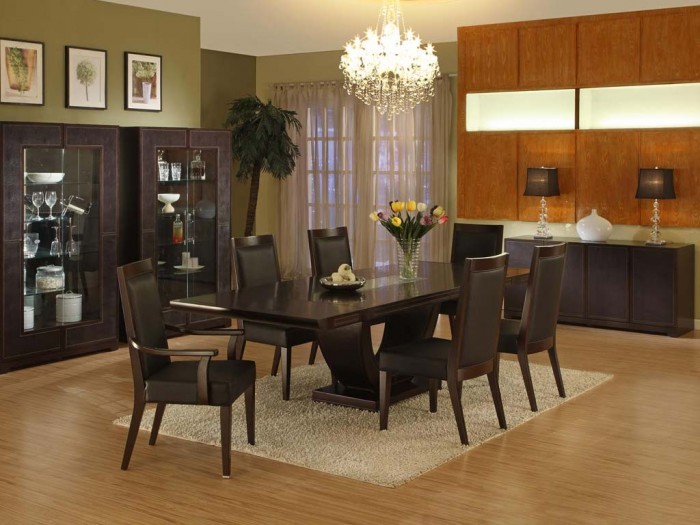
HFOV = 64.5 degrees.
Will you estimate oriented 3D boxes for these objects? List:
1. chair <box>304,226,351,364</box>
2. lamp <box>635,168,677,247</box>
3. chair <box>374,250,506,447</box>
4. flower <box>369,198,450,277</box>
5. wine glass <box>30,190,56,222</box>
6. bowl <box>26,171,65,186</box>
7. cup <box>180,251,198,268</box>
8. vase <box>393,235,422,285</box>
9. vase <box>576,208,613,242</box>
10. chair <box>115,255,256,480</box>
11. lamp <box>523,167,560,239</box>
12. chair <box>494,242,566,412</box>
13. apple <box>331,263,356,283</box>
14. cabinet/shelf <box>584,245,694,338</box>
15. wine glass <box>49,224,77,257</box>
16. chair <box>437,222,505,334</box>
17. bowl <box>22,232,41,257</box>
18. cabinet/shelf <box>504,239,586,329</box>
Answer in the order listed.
[{"bbox_3d":[-0.105,0.263,5.074,0.495,1.005,0.540,-10,29,-25],"label":"chair"},{"bbox_3d":[3.426,-0.636,6.215,0.379,0.847,0.411,4,7,34],"label":"lamp"},{"bbox_3d":[0.758,0.496,4.205,0.988,1.784,0.962,4,4,32],"label":"chair"},{"bbox_3d":[0.449,-0.196,4.410,0.492,0.662,0.562,-2,3,2],"label":"flower"},{"bbox_3d":[-2.736,-0.506,4.946,0.255,0.321,0.114,-1,1,-43],"label":"wine glass"},{"bbox_3d":[-2.696,-0.740,4.934,0.025,0.120,0.325,4,7,35],"label":"bowl"},{"bbox_3d":[-1.725,-0.017,6.004,0.174,0.188,0.104,0,2,-14],"label":"cup"},{"bbox_3d":[0.473,-0.019,4.391,0.202,0.346,0.211,0,-4,-7],"label":"vase"},{"bbox_3d":[2.811,-0.401,6.447,0.340,0.373,0.366,-1,-2,0],"label":"vase"},{"bbox_3d":[-0.983,0.548,3.776,0.943,1.701,1.071,1,2,9],"label":"chair"},{"bbox_3d":[2.361,-0.740,6.801,0.362,0.876,0.492,5,8,39],"label":"lamp"},{"bbox_3d":[1.253,0.455,4.274,0.741,1.205,0.766,1,5,23],"label":"chair"},{"bbox_3d":[-0.032,0.069,3.956,0.129,0.128,0.135,-4,-2,34],"label":"apple"},{"bbox_3d":[3.242,0.318,6.118,0.881,0.867,0.342,1,2,36],"label":"cabinet/shelf"},{"bbox_3d":[-2.629,-0.200,5.141,0.224,0.233,0.226,1,2,44],"label":"wine glass"},{"bbox_3d":[1.149,0.144,5.219,0.697,1.022,0.692,2,3,-36],"label":"chair"},{"bbox_3d":[-2.810,-0.150,4.913,0.153,0.201,0.165,0,-4,0],"label":"bowl"},{"bbox_3d":[1.861,0.201,5.134,0.911,0.966,0.358,1,1,32],"label":"cabinet/shelf"}]
